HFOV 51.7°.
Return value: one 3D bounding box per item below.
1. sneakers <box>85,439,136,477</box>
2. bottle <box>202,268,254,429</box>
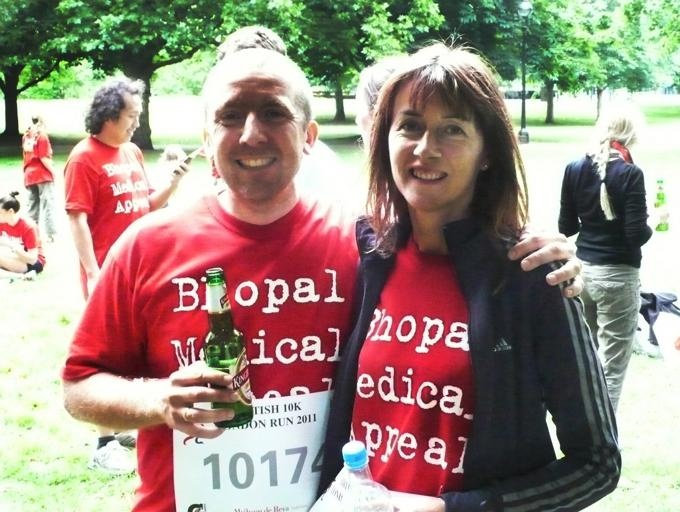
[{"bbox_3d":[-1.528,1.374,4.767,0.183,0.146,0.313,5,-6,-40],"label":"sneakers"},{"bbox_3d":[-0.376,0.321,2.344,0.159,0.603,0.248,-3,9,-12],"label":"bottle"}]
